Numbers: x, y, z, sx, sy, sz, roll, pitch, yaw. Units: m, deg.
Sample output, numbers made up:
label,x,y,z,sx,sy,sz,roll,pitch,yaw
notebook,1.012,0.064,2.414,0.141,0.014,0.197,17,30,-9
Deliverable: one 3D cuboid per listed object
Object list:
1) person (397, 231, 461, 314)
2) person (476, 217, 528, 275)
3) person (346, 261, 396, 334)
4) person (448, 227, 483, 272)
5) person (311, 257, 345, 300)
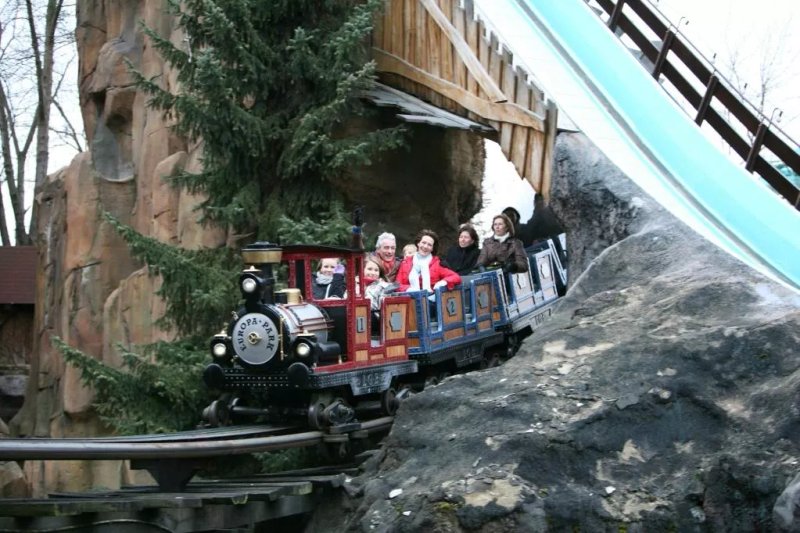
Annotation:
label,x,y,z,sx,sy,sz,roll,pitch,yaw
person,0.444,0.083,17.265,1.104,1.441,0.887,0,-1,21
person,1.879,-0.354,18.434,0.991,1.432,0.722,-2,-5,25
person,-0.411,0.477,16.553,0.487,1.108,1.209,-5,2,5
person,1.323,-0.339,19.414,0.629,1.035,0.884,2,-2,33
person,-1.240,0.187,16.629,0.500,0.735,0.302,1,-4,3
